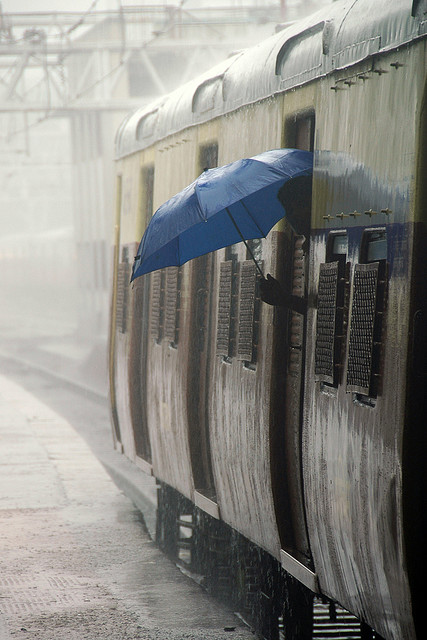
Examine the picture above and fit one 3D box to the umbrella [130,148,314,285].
[{"bbox_3d":[0.016,-0.584,5.616,0.759,0.607,0.799,-30,-2,-10],"label":"umbrella"}]
